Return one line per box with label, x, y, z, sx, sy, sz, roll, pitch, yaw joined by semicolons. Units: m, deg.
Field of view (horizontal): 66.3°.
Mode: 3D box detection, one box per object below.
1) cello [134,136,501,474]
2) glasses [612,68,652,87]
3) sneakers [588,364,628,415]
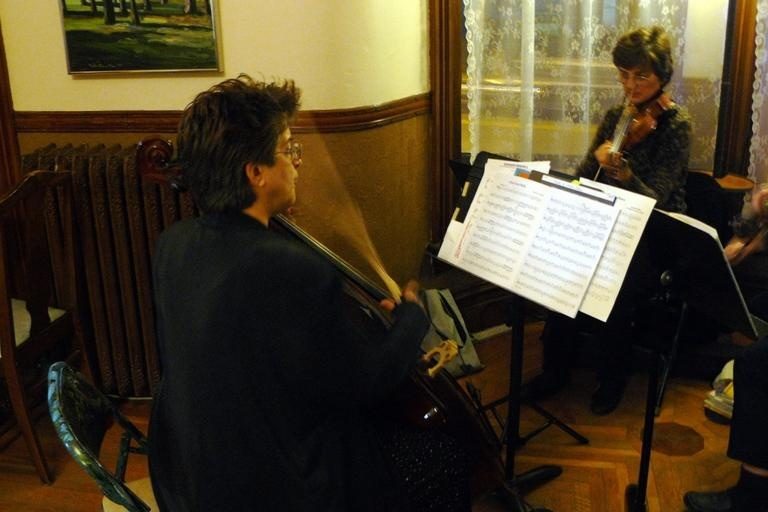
cello;-0.260;0.171;2.089;1.776;0.420;0.643;43;5;-4
glasses;1.278;-0.914;2.993;0.048;0.081;0.166;-18;24;-40
sneakers;1.205;0.660;3.141;0.116;0.140;0.357;11;40;36
